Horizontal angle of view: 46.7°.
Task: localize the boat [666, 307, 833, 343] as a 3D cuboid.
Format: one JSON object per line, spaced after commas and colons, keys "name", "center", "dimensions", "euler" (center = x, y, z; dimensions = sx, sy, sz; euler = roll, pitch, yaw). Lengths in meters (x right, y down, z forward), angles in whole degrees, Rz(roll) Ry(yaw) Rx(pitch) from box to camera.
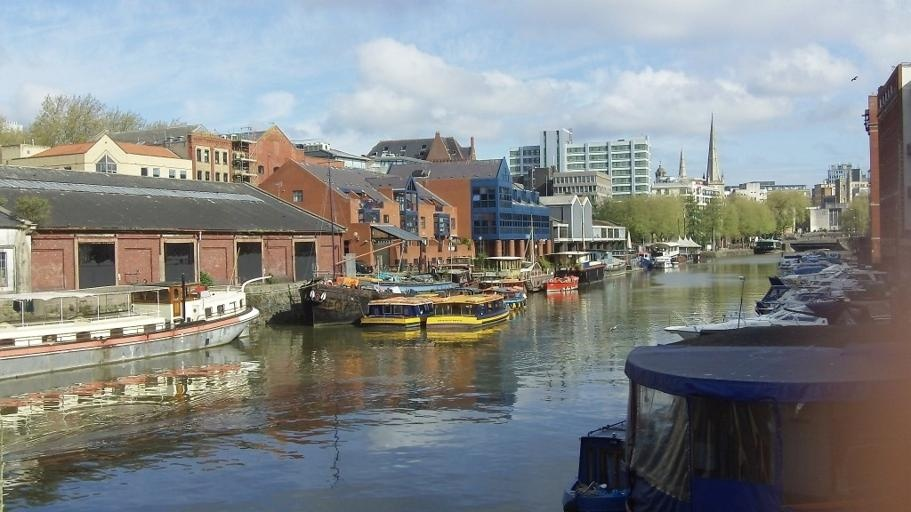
{"name": "boat", "center": [20.843, 4.902, 74.652], "dimensions": [12.755, 2.221, 2.689], "euler": [-2, -8, -4]}
